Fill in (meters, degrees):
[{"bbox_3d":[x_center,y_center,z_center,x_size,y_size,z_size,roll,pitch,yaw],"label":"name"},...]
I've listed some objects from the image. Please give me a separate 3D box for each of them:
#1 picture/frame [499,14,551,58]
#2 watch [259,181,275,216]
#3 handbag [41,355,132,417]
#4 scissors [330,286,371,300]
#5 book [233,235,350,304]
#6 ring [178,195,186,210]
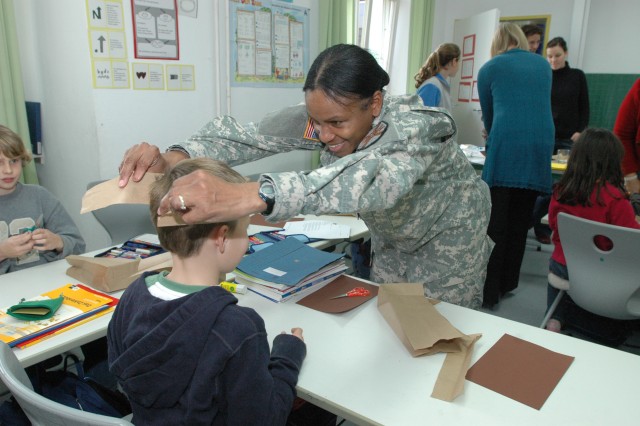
[{"bbox_3d":[2.769,-2.395,6.229,0.688,0.023,0.690,10,-27,28],"label":"picture/frame"},{"bbox_3d":[-0.167,-0.047,1.531,0.070,0.099,0.038,9,-13,14],"label":"watch"},{"bbox_3d":[-1.047,0.808,2.221,0.249,0.315,0.340,10,-11,-7],"label":"handbag"},{"bbox_3d":[0.132,0.363,2.122,0.162,0.025,0.065,-11,11,-27],"label":"scissors"},{"bbox_3d":[-0.125,0.271,2.210,0.319,0.099,0.325,12,24,35],"label":"book"},{"bbox_3d":[-0.428,-0.030,1.404,0.012,0.033,0.033,-15,6,-23],"label":"ring"}]
